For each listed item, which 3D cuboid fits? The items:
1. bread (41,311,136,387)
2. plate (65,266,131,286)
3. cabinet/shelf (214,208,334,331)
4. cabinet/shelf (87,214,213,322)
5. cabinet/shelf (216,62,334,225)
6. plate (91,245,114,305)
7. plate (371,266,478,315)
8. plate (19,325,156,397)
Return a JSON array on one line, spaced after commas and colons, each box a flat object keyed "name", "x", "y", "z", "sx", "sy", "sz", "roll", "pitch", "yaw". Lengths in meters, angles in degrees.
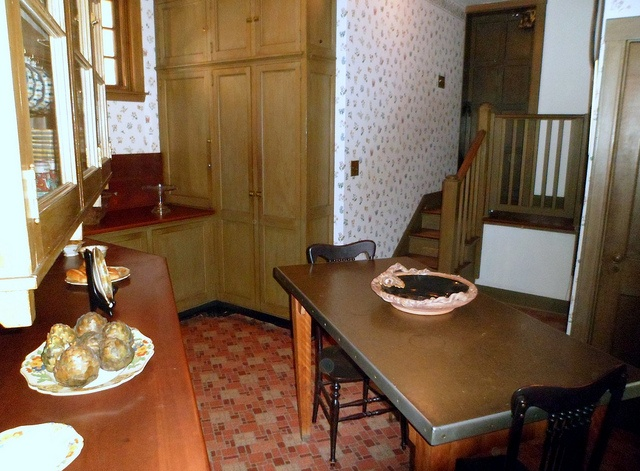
[{"name": "bread", "x": -0.765, "y": 0.358, "z": 1.571, "sx": 0.218, "sy": 0.099, "sz": 0.224, "roll": 18, "pitch": 30, "yaw": 26}, {"name": "plate", "x": -1.082, "y": 0.194, "z": 2.365, "sx": 0.151, "sy": 0.024, "sz": 0.155, "roll": 2, "pitch": 19, "yaw": -10}, {"name": "cabinet/shelf", "x": -0.500, "y": 0.090, "z": 4.429, "sx": 1.307, "sy": 1.367, "sz": 0.732, "roll": 7, "pitch": 11, "yaw": 36}, {"name": "cabinet/shelf", "x": -1.084, "y": 0.160, "z": 3.090, "sx": 0.272, "sy": 0.718, "sz": 0.791, "roll": 6, "pitch": 10, "yaw": 43}, {"name": "cabinet/shelf", "x": -0.407, "y": -0.630, "z": 4.191, "sx": 0.936, "sy": 1.745, "sz": 0.531, "roll": 7, "pitch": 13, "yaw": 28}, {"name": "plate", "x": -0.912, "y": 0.173, "z": 2.023, "sx": 0.043, "sy": 0.213, "sz": 0.222, "roll": -15, "pitch": -14, "yaw": -12}, {"name": "plate", "x": 0.472, "y": 0.233, "z": 2.263, "sx": 0.258, "sy": 0.083, "sz": 0.264, "roll": -3, "pitch": 19, "yaw": -7}, {"name": "plate", "x": -0.752, "y": 0.401, "z": 1.535, "sx": 0.222, "sy": 0.035, "sz": 0.227, "roll": -5, "pitch": 26, "yaw": -15}]
